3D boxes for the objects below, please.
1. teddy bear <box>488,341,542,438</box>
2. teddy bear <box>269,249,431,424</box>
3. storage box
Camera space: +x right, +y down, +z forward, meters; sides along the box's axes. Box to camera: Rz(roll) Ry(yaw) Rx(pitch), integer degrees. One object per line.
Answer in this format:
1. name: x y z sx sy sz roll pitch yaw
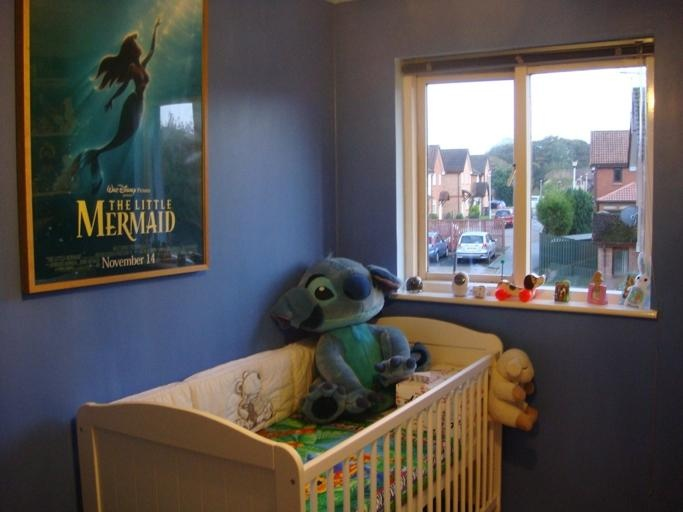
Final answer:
1. teddy bear: 0.872 0.665 2.917 0.310 0.521 0.378 1 -3 20
2. teddy bear: 0.063 0.408 2.893 0.744 0.829 0.553 -5 -6 -11
3. storage box: 0.405 0.645 2.538 0.350 0.260 0.372 -2 4 33
